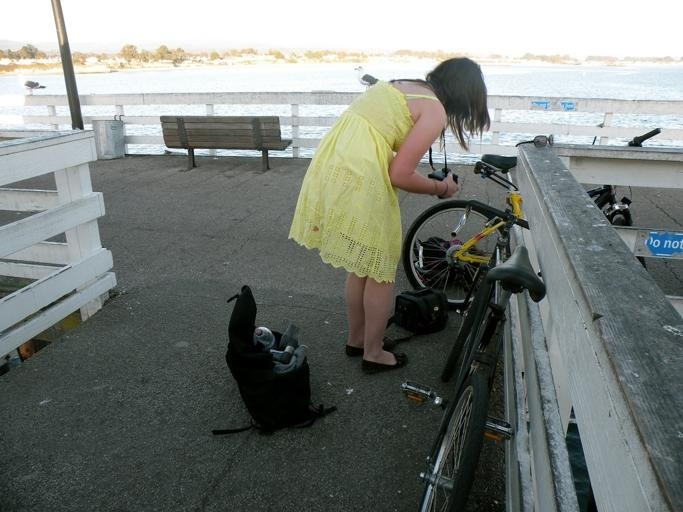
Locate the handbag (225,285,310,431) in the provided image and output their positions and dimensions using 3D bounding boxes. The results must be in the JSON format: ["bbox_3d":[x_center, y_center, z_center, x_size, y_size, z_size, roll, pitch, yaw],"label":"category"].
[{"bbox_3d":[-0.482,0.681,3.240,0.412,0.615,0.683,-9,19,-20],"label":"handbag"}]

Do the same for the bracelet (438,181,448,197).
[{"bbox_3d":[0.655,-0.434,3.225,0.067,0.087,0.033,-11,-15,44],"label":"bracelet"}]

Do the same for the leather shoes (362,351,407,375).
[{"bbox_3d":[0.299,0.737,3.495,0.288,0.080,0.133,-12,28,-15],"label":"leather shoes"}]

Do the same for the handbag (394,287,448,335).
[{"bbox_3d":[0.589,0.393,3.973,0.401,0.286,0.355,-10,18,-42],"label":"handbag"}]

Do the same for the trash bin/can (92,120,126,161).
[{"bbox_3d":[-4.952,-2.525,10.732,0.622,0.806,0.578,-10,28,-21],"label":"trash bin/can"}]
